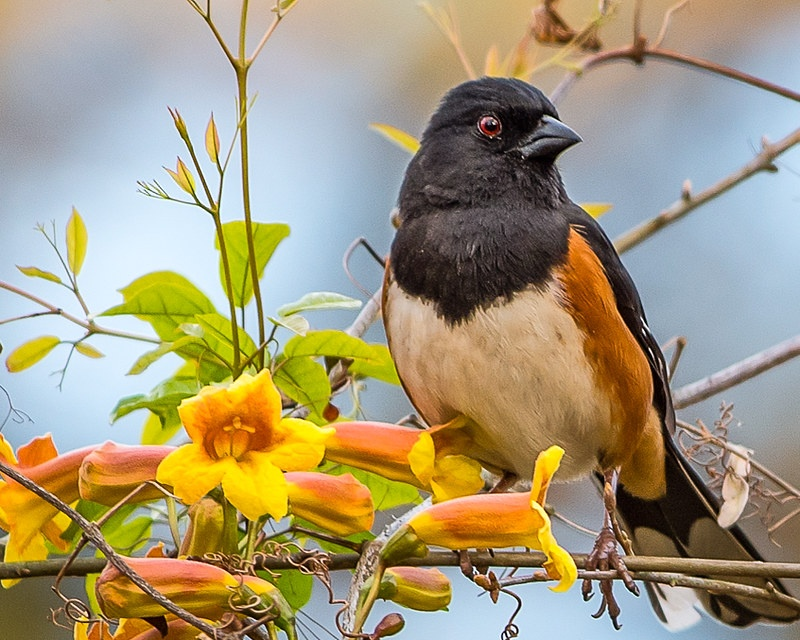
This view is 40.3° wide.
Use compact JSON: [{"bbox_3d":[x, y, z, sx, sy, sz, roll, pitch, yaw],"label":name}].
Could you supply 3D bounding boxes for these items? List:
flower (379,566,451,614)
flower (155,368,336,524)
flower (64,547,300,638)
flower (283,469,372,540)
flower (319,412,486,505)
[{"bbox_3d":[0.032,0.548,2.202,0.145,0.077,0.070,10,-29,-12],"label":"flower"},{"bbox_3d":[-0.286,0.253,2.011,0.324,0.255,0.197,-21,-24,-9],"label":"flower"},{"bbox_3d":[-0.386,0.505,2.013,0.282,0.182,0.078,13,-62,-14],"label":"flower"},{"bbox_3d":[-0.135,0.359,2.144,0.190,0.098,0.088,17,-7,6],"label":"flower"},{"bbox_3d":[-0.003,0.282,2.263,0.289,0.156,0.189,11,-3,1],"label":"flower"}]
